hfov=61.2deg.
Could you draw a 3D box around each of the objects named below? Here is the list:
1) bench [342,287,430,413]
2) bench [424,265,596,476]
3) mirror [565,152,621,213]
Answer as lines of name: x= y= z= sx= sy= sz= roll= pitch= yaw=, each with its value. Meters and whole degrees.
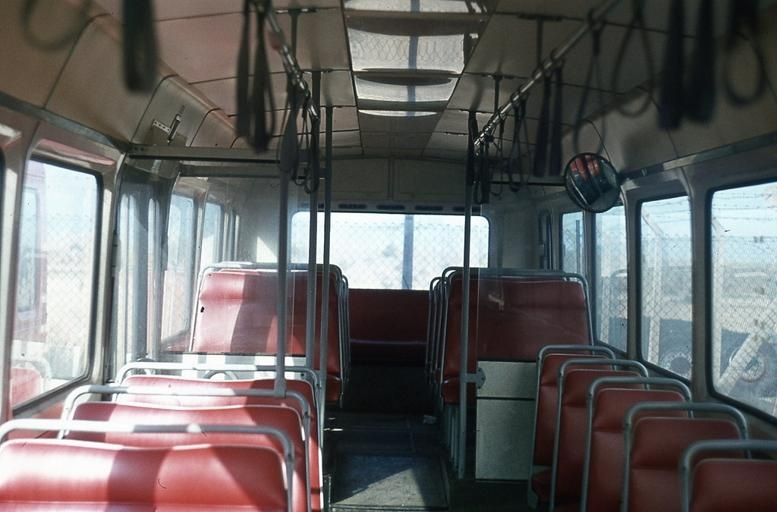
bench: x=0.067 y=1.323 z=8.900 sx=1.297 sy=1.894 sz=1.344 roll=2 pitch=-14 yaw=-3
bench: x=1.144 y=1.039 z=5.876 sx=1.810 sy=1.927 sz=1.155 roll=1 pitch=3 yaw=1
mirror: x=1.721 y=-0.607 z=5.416 sx=0.326 sy=0.384 sz=0.054 roll=-35 pitch=4 yaw=9
